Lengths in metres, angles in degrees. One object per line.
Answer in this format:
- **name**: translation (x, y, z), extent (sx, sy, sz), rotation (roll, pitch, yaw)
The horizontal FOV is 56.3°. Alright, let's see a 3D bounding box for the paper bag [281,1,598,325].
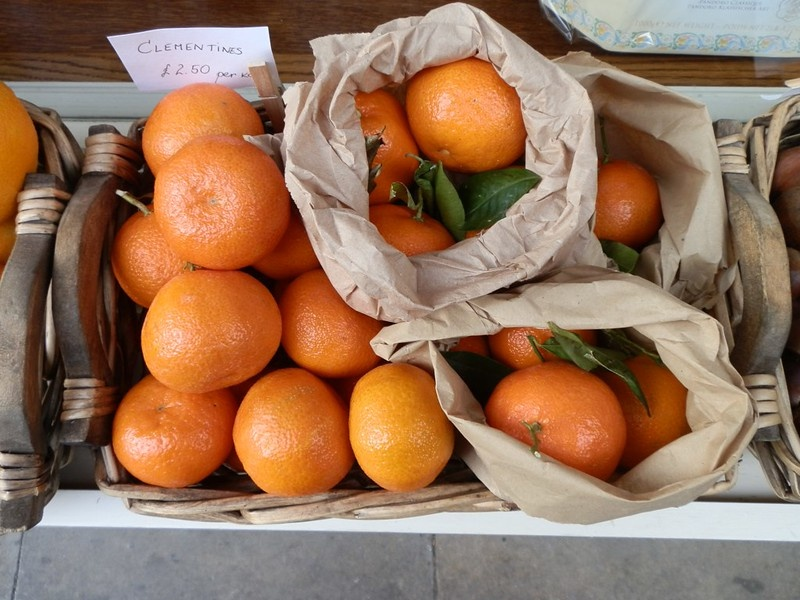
- **paper bag**: translation (0.037, -0.159, 1.015), extent (0.429, 0.176, 0.360), rotation (-16, 91, -1)

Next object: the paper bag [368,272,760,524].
- **paper bag**: translation (0.211, 0.104, 0.868), extent (0.316, 0.125, 0.334), rotation (-31, 74, -10)
